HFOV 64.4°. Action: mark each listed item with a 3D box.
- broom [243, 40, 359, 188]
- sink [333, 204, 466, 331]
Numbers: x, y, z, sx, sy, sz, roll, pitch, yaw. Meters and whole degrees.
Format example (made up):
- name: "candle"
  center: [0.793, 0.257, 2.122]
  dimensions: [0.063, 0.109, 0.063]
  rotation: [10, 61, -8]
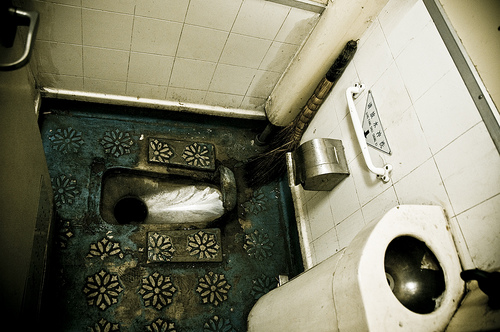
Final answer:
- name: "broom"
  center: [0.370, -0.298, 3.217]
  dimensions: [0.470, 1.507, 0.254]
  rotation: [45, 37, 15]
- name: "sink"
  center: [0.779, 0.538, 2.053]
  dimensions: [0.518, 0.725, 0.261]
  rotation: [-1, -18, 9]
